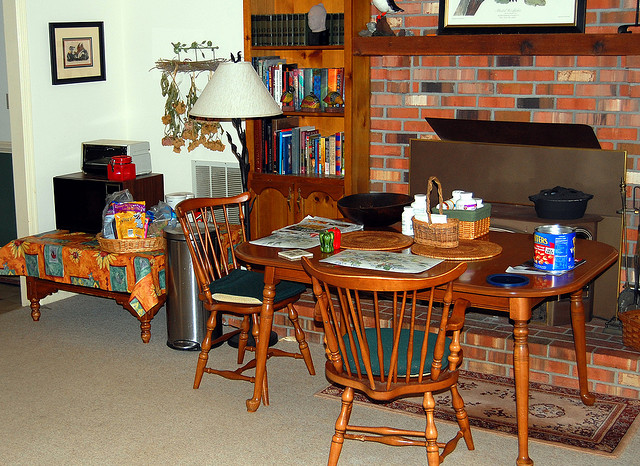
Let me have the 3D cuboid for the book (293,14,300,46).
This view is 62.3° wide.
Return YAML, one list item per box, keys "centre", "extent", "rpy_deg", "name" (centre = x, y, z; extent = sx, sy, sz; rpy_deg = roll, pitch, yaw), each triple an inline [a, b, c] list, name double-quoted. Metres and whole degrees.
- centre: [-0.189, -1.575, 4.095]
  extent: [0.054, 0.227, 0.064]
  rpy_deg: [-2, 15, 1]
  name: "book"

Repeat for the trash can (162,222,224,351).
- centre: [-0.887, 0.390, 3.710]
  extent: [0.425, 0.929, 0.410]
  rpy_deg: [16, 21, 35]
  name: "trash can"

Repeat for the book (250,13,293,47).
- centre: [-0.378, -1.580, 4.124]
  extent: [0.321, 0.247, 0.063]
  rpy_deg: [1, 16, 10]
  name: "book"

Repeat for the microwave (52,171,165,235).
- centre: [-1.809, -0.312, 4.566]
  extent: [0.894, 0.513, 0.592]
  rpy_deg: [5, 9, 23]
  name: "microwave"

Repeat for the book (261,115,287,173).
- centre: [-0.369, -0.694, 4.152]
  extent: [0.246, 0.380, 0.424]
  rpy_deg: [5, 10, 21]
  name: "book"

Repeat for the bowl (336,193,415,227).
- centre: [0.295, -0.153, 3.094]
  extent: [0.413, 0.128, 0.406]
  rpy_deg: [15, 11, -3]
  name: "bowl"

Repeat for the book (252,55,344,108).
- centre: [-0.138, -1.191, 4.139]
  extent: [0.724, 0.411, 0.293]
  rpy_deg: [8, 18, 32]
  name: "book"

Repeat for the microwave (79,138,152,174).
- centre: [-1.810, -0.660, 4.602]
  extent: [0.616, 0.290, 0.405]
  rpy_deg: [-3, 14, -6]
  name: "microwave"

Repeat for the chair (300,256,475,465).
- centre: [0.314, 0.623, 2.442]
  extent: [0.761, 1.033, 0.744]
  rpy_deg: [5, 24, 17]
  name: "chair"

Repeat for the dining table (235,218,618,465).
- centre: [0.210, 0.423, 2.863]
  extent: [1.298, 0.995, 2.109]
  rpy_deg: [11, 16, 36]
  name: "dining table"
